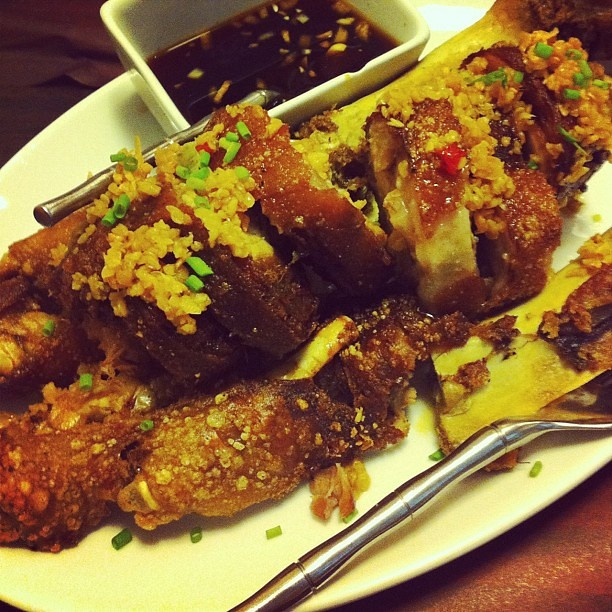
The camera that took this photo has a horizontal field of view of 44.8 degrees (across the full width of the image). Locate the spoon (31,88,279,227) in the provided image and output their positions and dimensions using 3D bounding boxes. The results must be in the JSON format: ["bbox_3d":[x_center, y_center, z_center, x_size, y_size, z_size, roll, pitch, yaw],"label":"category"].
[{"bbox_3d":[-0.457,-0.452,2.231,0.808,0.071,0.080,-25,31,9],"label":"spoon"}]
